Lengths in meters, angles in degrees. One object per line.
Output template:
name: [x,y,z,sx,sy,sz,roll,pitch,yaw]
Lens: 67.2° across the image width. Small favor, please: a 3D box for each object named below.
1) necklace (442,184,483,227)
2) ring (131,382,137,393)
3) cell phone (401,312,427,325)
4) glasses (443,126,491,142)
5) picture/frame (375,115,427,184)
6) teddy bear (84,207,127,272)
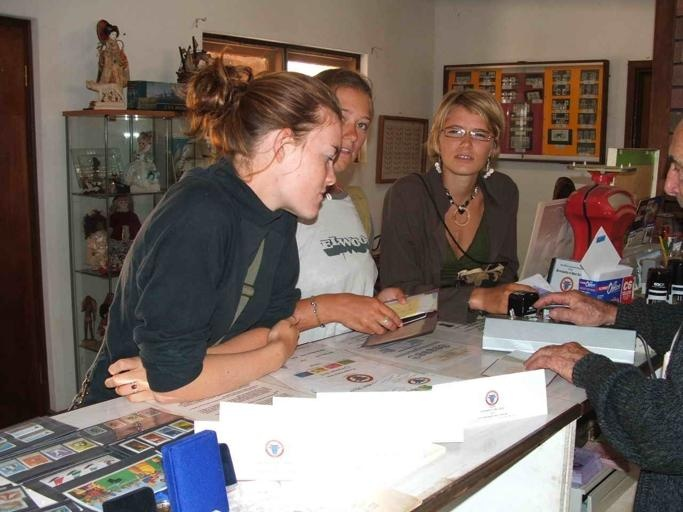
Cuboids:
necklace: [0.572,-0.227,2.424,0.125,0.188,0.039,1,-14,-9]
ring: [-0.530,0.338,1.314,0.016,0.017,0.020,-20,-12,-7]
cell phone: [0.251,0.221,1.804,0.109,0.030,0.018,-17,11,-26]
glasses: [0.576,-0.558,2.373,0.215,0.068,0.058,1,12,11]
picture/frame: [0.783,-1.286,6.266,0.979,0.775,0.051,-10,16,-44]
teddy bear: [-1.714,-0.108,3.550,0.323,0.321,0.321,15,19,26]
